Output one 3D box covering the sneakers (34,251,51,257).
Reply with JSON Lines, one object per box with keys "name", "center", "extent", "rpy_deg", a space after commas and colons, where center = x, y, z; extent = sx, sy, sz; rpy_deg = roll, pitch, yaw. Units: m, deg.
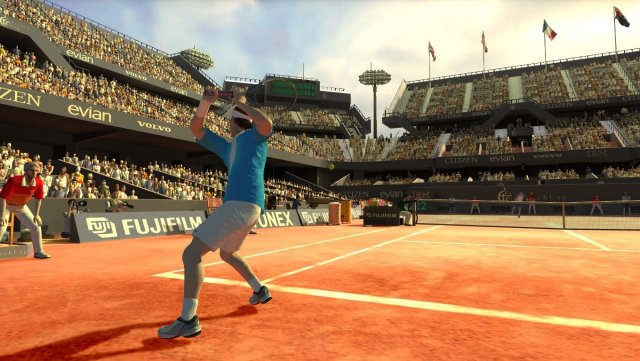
{"name": "sneakers", "center": [-9.431, 2.526, 13.316], "extent": [0.561, 0.227, 0.223], "rpy_deg": [-1, -7, -9]}
